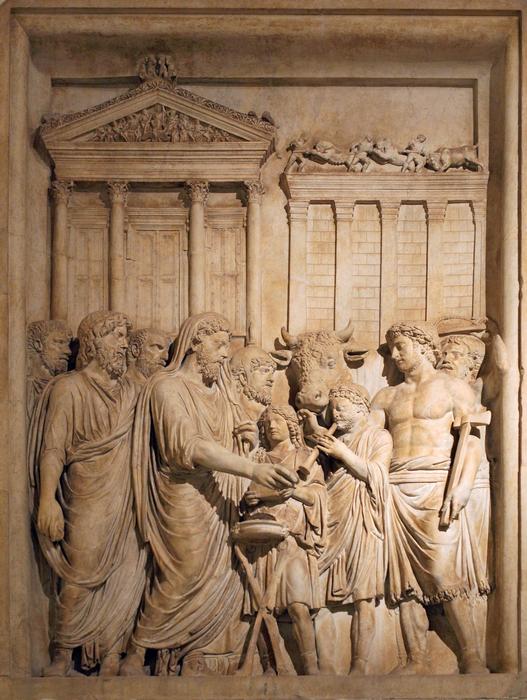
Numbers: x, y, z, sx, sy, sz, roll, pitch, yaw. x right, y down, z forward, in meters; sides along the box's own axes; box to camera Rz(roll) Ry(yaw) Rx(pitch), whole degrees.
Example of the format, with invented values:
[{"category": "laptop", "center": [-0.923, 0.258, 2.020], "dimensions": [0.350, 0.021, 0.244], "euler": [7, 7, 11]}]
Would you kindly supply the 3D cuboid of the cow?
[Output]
[{"category": "cow", "center": [0.293, 0.097, 9.029], "dimensions": [0.474, 0.546, 0.306], "euler": [-3, -11, 13]}]
